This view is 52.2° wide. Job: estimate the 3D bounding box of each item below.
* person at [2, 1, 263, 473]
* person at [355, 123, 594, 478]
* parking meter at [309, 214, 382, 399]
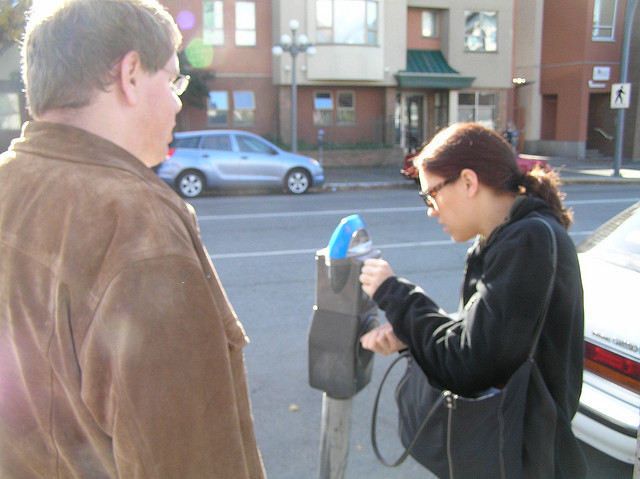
[{"bbox_3d":[-0.574,0.046,1.865,0.784,1.414,0.406,4,11,12],"label":"person"},{"bbox_3d":[0.616,0.289,2.994,1.003,1.824,1.027,0,-4,18],"label":"person"},{"bbox_3d":[0.097,0.253,2.450,0.205,0.717,0.269,10,18,21],"label":"parking meter"}]
